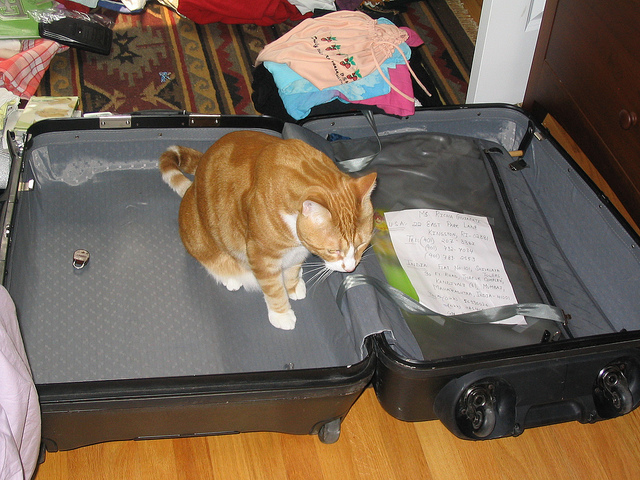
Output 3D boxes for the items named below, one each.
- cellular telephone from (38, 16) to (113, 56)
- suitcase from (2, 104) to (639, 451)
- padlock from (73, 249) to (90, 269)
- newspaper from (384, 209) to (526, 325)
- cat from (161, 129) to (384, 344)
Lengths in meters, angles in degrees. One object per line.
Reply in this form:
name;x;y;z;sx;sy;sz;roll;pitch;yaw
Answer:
cellular telephone;-1.078;-0.879;2.270;0.249;0.061;0.142;19;67;-31
suitcase;0.056;0.136;1.533;1.470;0.416;1.094;-3;67;-15
padlock;-0.704;0.054;1.520;0.036;0.020;0.055;9;47;-8
newspaper;0.401;0.085;1.568;0.355;0.441;0.032;4;35;22
cat;-0.207;-0.105;1.500;0.282;0.515;0.820;-27;55;-34
